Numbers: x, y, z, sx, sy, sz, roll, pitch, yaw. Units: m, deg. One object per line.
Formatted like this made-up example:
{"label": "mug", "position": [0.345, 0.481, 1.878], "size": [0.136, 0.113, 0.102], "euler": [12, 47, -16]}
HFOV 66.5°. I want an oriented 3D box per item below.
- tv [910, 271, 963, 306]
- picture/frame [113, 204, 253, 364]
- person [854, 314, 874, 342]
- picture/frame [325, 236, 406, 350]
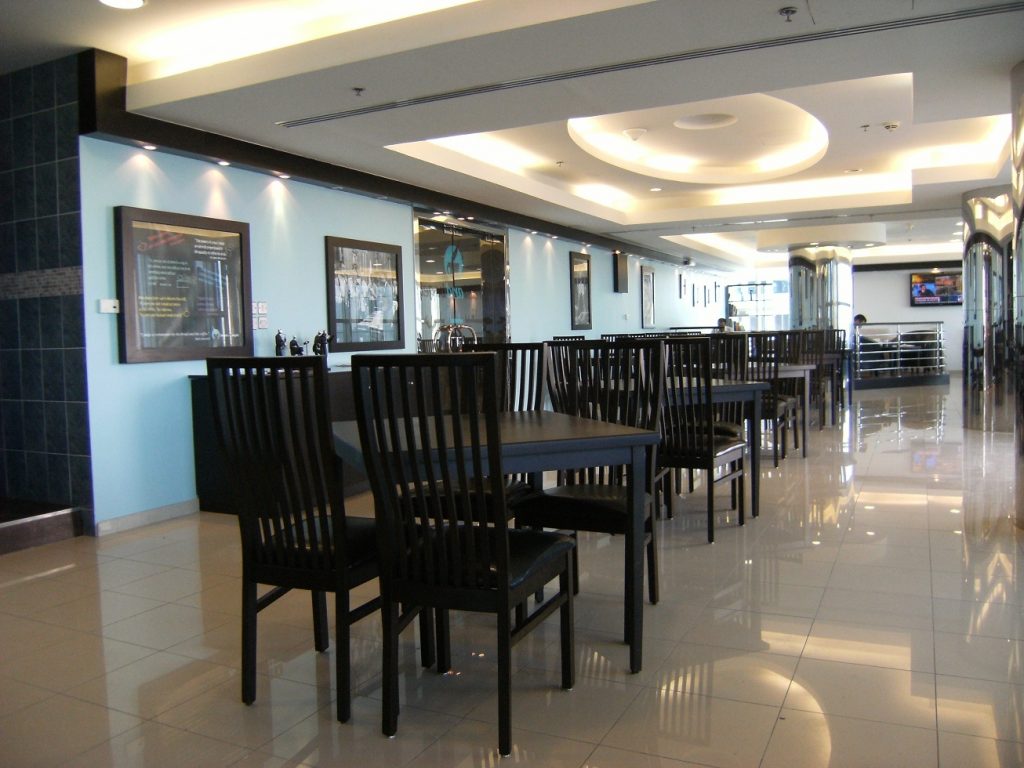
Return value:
{"label": "tv", "position": [10.023, -2.254, 18.442], "size": [1.388, 1.003, 0.151], "euler": [4, 3, 33]}
{"label": "picture/frame", "position": [-2.464, -0.734, 5.757], "size": [0.090, 1.302, 1.277], "euler": [3, 6, 34]}
{"label": "person", "position": [6.547, -1.076, 14.521], "size": [0.311, 0.522, 2.719], "euler": [3, 10, 25]}
{"label": "picture/frame", "position": [-1.437, -0.866, 7.467], "size": [0.050, 1.249, 1.185], "euler": [-1, 0, 29]}
